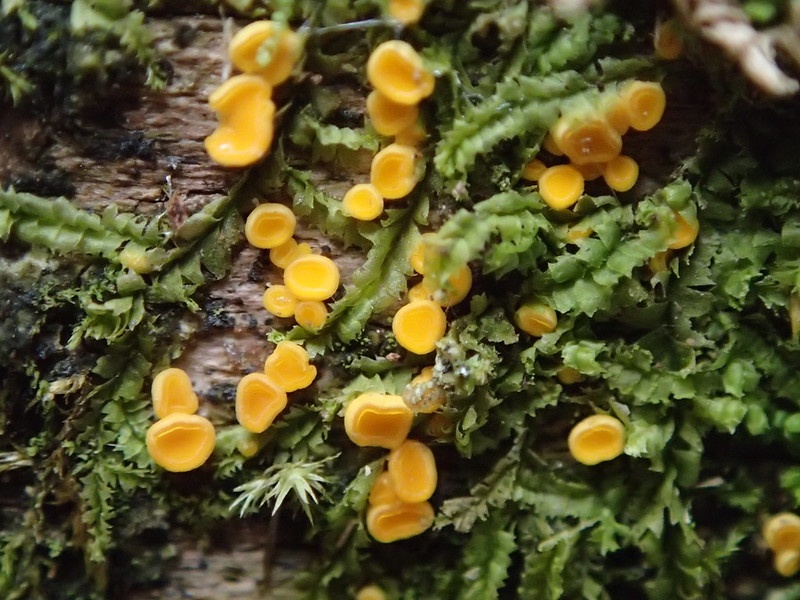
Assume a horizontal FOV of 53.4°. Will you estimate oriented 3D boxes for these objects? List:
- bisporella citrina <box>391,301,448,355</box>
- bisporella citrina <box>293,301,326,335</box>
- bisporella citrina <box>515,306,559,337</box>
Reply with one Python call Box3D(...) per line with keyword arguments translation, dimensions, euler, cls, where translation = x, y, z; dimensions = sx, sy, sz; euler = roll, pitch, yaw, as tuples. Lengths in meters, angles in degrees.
Box3D(translation=(0.105, 0.134, 4.270), dimensions=(0.274, 0.169, 0.288), euler=(30, 85, 3), cls="bisporella citrina")
Box3D(translation=(-0.488, 0.086, 4.323), dimensions=(0.179, 0.041, 0.160), euler=(5, 85, 0), cls="bisporella citrina")
Box3D(translation=(0.733, 0.102, 4.293), dimensions=(0.202, 0.095, 0.183), euler=(-21, 85, -2), cls="bisporella citrina")
